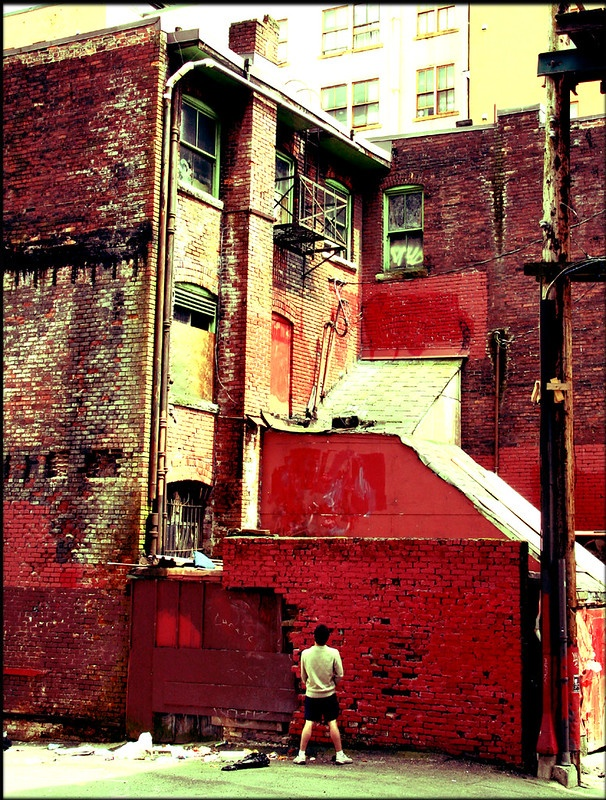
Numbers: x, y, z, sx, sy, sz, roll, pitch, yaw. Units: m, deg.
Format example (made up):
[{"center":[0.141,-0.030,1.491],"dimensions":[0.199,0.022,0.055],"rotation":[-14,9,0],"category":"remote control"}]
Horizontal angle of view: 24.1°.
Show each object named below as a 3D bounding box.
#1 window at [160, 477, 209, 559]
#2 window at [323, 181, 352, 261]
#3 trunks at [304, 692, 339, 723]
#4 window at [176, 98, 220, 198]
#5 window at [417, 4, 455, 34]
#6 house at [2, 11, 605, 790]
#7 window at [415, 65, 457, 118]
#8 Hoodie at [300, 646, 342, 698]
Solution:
[{"center":[-1.760,1.718,20.459],"dimensions":[0.041,1.163,1.006],"rotation":[0,-8,25],"category":"window"},{"center":[0.512,-3.289,26.127],"dimensions":[0.030,0.988,0.821],"rotation":[0,-13,-32],"category":"window"},{"center":[0.199,3.426,15.838],"dimensions":[0.475,0.434,0.299],"rotation":[2,0,9],"category":"trunks"},{"center":[-1.645,-3.812,21.503],"dimensions":[0.109,1.391,1.298],"rotation":[3,-2,24],"category":"window"},{"center":[3.757,-10.597,39.595],"dimensions":[1.046,0.979,0.092],"rotation":[-7,-17,37],"category":"window"},{"center":[-0.106,-0.197,24.994],"dimensions":[8.979,14.016,12.407],"rotation":[-3,-7,22],"category":"house"},{"center":[3.732,-8.488,39.406],"dimensions":[1.277,1.622,0.114],"rotation":[-9,-14,34],"category":"window"},{"center":[0.234,2.967,15.888],"dimensions":[0.555,0.720,0.472],"rotation":[-1,1,7],"category":"Hoodie"}]
